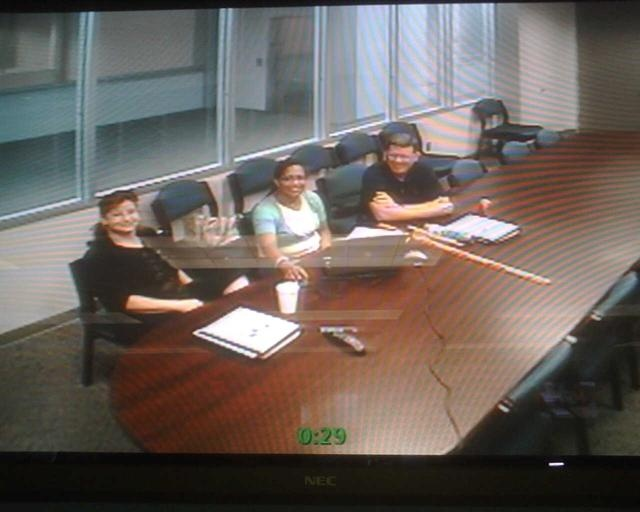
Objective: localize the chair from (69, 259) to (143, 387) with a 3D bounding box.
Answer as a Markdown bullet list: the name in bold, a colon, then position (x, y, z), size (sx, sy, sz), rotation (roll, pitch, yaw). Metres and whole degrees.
- **chair**: position (-0.681, 0.197, 1.764), size (0.222, 0.368, 0.210), rotation (-11, 25, -10)

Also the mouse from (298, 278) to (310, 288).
- **mouse**: position (-0.052, 0.087, 1.818), size (0.056, 0.029, 0.015), rotation (-2, 28, 3)

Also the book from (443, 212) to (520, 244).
- **book**: position (0.535, -0.091, 1.877), size (0.128, 0.034, 0.170), rotation (-28, 31, -32)

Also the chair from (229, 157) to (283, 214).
- **chair**: position (-0.221, -0.239, 1.846), size (0.227, 0.129, 0.135), rotation (-4, 22, 46)

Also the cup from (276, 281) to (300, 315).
- **cup**: position (-0.102, 0.128, 1.750), size (0.107, 0.082, 0.109), rotation (1, -6, 0)

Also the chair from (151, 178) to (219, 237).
- **chair**: position (-0.446, -0.163, 1.802), size (0.146, 0.126, 0.164), rotation (-26, -14, -4)

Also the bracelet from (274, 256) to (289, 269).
- **bracelet**: position (-0.126, 0.017, 1.837), size (0.044, 0.030, 0.037), rotation (1, 1, -2)

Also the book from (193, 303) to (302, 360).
- **book**: position (-0.222, 0.239, 1.747), size (0.219, 0.039, 0.202), rotation (15, 25, 28)

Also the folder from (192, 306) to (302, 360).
- **folder**: position (-0.220, 0.242, 1.748), size (0.221, 0.039, 0.201), rotation (15, 24, 27)

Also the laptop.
- **laptop**: position (0.112, -0.012, 1.924), size (0.397, 0.101, 0.109), rotation (-2, 0, -22)

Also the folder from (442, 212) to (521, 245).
- **folder**: position (0.529, -0.087, 1.879), size (0.149, 0.018, 0.157), rotation (-23, 25, -27)

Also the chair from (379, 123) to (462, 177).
- **chair**: position (0.360, -0.371, 1.880), size (0.265, 0.178, 0.165), rotation (8, 33, 18)
